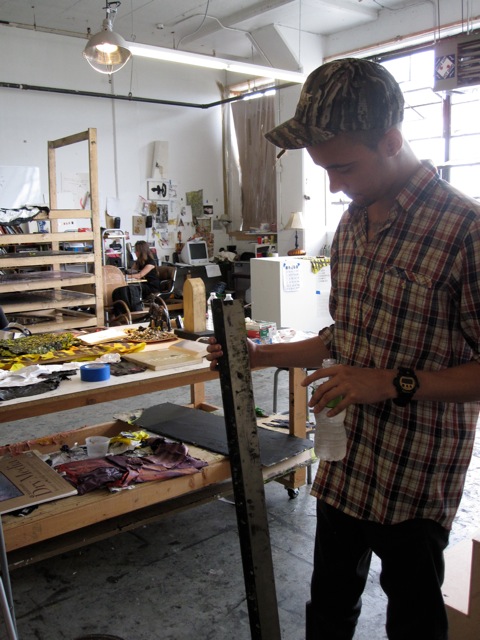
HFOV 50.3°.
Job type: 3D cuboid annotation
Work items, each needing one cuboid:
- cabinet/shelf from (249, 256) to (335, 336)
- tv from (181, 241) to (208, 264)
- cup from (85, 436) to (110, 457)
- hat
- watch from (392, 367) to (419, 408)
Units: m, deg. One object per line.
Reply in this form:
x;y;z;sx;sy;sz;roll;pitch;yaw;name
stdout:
0.593;-0.327;5.989;1.058;0.900;0.558;-7;8;-41;cabinet/shelf
-0.904;-1.358;10.233;0.519;0.450;0.288;-5;8;-42;tv
-0.663;0.585;2.392;0.101;0.068;0.089;-4;-5;43;cup
0.165;-0.368;0.914;0.221;0.103;0.147;-7;36;5;hat
0.274;0.111;0.839;0.038;0.066;0.025;0;6;16;watch
